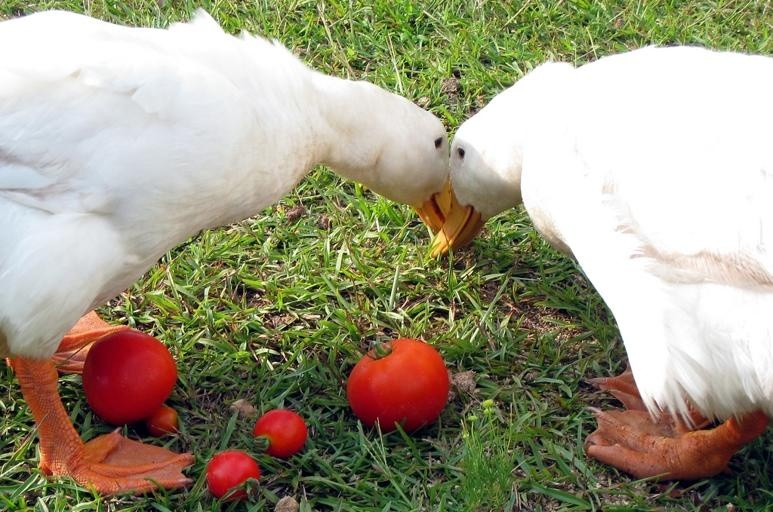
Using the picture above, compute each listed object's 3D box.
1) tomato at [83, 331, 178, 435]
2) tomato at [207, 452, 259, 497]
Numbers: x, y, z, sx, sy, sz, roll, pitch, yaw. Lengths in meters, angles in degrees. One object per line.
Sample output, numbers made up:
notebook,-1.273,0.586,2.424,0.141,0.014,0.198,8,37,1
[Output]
tomato,-1.068,0.494,2.983,0.489,0.382,0.407,1,91,-37
tomato,-0.593,0.847,2.688,0.200,0.145,0.161,-7,56,-10
